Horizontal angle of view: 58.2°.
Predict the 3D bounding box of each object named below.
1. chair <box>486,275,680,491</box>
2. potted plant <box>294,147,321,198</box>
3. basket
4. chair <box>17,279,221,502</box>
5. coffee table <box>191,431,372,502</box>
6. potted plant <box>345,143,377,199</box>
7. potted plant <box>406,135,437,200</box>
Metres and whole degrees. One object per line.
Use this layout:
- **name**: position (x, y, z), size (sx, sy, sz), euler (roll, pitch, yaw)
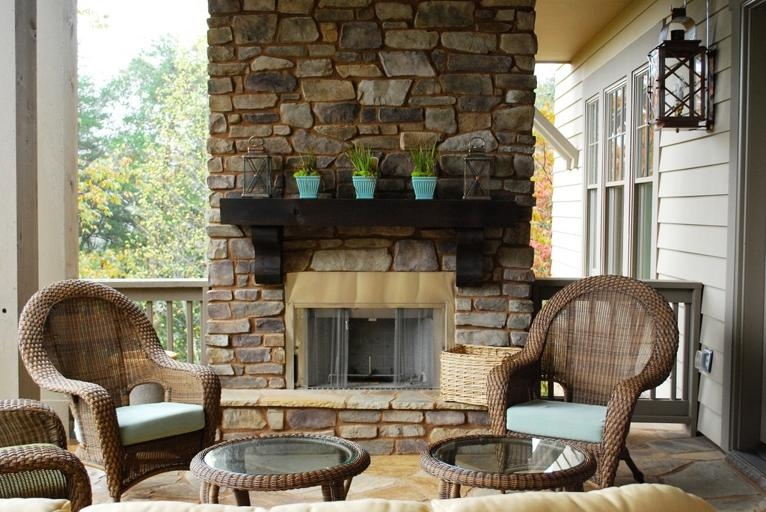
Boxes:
- **chair**: position (1.278, 0.846, 4.368), size (1.208, 1.243, 1.113), euler (-4, 6, 13)
- **potted plant**: position (-0.545, -0.589, 5.005), size (0.178, 0.374, 0.206), euler (0, -1, -7)
- **basket**: position (0.673, 0.885, 4.935), size (0.550, 0.334, 0.418), euler (-3, -5, 38)
- **chair**: position (-1.658, 0.846, 4.301), size (1.070, 1.168, 1.081), euler (1, 7, -44)
- **coffee table**: position (-0.529, 1.089, 3.518), size (0.576, 0.152, 0.551), euler (0, -1, 8)
- **potted plant**: position (-0.139, -0.609, 5.002), size (0.233, 0.437, 0.220), euler (0, -1, -2)
- **potted plant**: position (0.300, -0.628, 5.043), size (0.242, 0.425, 0.236), euler (-7, 8, -32)
